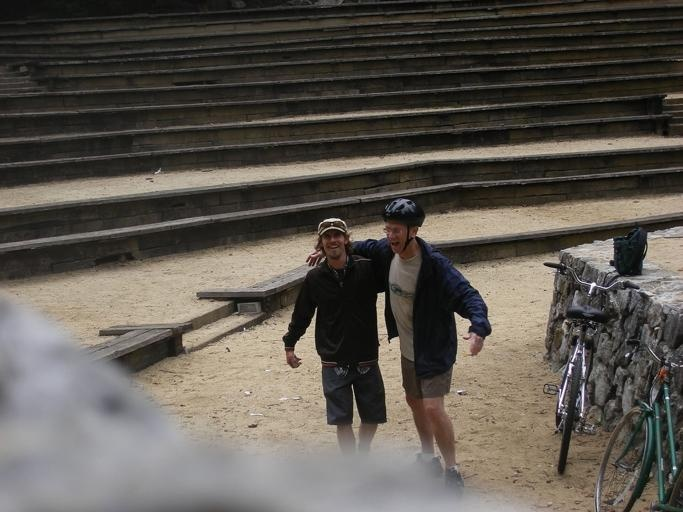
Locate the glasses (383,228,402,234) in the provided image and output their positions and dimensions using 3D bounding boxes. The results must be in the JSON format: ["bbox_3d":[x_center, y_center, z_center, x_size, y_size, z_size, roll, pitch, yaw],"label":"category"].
[{"bbox_3d":[0.361,-0.163,5.107,0.068,0.028,0.079,0,-3,30],"label":"glasses"}]

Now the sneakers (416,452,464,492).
[{"bbox_3d":[0.693,1.511,5.355,0.159,0.148,0.388,-15,23,-21],"label":"sneakers"}]

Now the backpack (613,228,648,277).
[{"bbox_3d":[2.301,-0.026,6.080,0.306,0.331,0.297,3,7,24],"label":"backpack"}]

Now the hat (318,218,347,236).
[{"bbox_3d":[-0.062,-0.215,5.312,0.168,0.086,0.198,-4,-3,2],"label":"hat"}]

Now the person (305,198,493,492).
[{"bbox_3d":[0.577,0.621,5.205,0.548,1.997,1.159,-10,16,-29],"label":"person"}]

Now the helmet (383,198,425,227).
[{"bbox_3d":[0.431,-0.285,5.131,0.198,0.135,0.246,3,-19,29],"label":"helmet"}]
